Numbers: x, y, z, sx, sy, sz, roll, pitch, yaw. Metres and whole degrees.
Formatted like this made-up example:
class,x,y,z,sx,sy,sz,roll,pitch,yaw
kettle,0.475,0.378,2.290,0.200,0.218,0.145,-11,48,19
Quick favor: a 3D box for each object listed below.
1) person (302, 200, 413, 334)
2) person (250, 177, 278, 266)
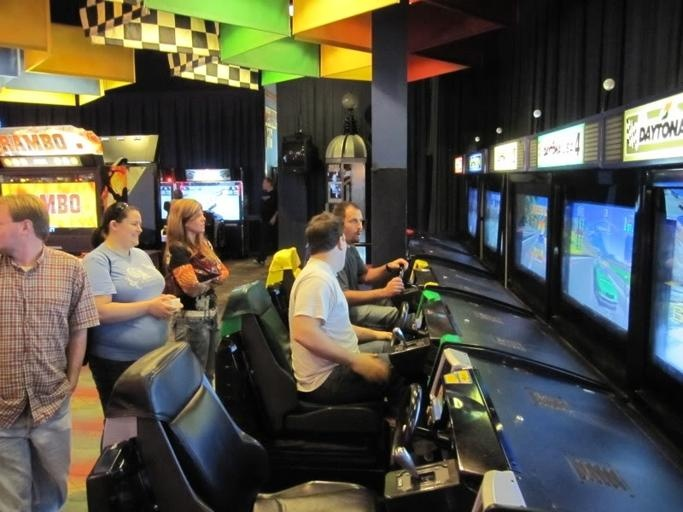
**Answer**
class,x,y,z,sx,sy,sz,roll,pitch,yaw
person,0.207,0.292,3.974,0.687,1.426,0.699,-4,13,8
person,-1.434,-0.712,10.247,0.361,1.630,1.169,3,13,-8
